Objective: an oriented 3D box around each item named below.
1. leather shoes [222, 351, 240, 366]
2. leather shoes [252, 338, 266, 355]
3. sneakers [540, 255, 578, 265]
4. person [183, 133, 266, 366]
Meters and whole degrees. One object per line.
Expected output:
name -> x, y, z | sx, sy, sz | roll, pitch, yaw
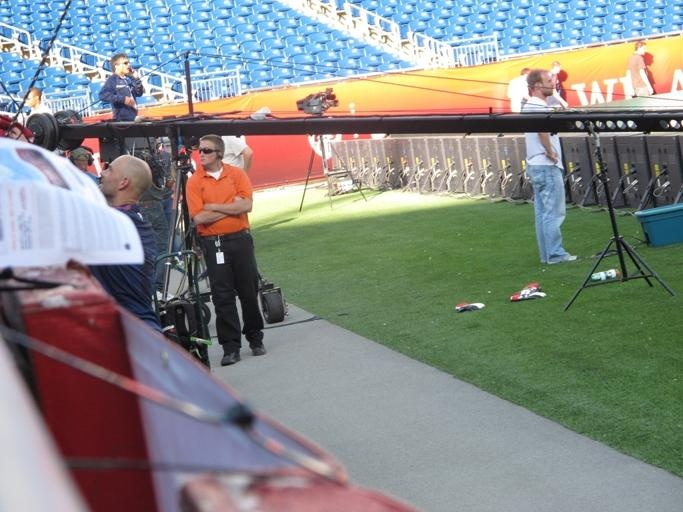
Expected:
leather shoes -> -1.062, 0.990, 5.261 | 0.089, 0.081, 0.207 | -3, -8, 18
leather shoes -> -0.779, 0.907, 5.399 | 0.089, 0.159, 0.249 | -2, -1, 19
sneakers -> 2.851, 0.046, 7.228 | 0.488, 0.155, 0.137 | -7, 5, 10
person -> -1.116, -0.077, 5.335 | 0.610, 2.215, 0.471 | -6, 7, -15
